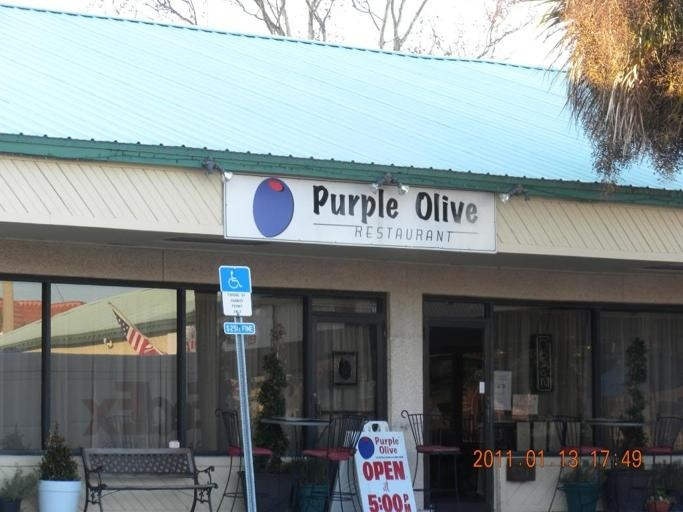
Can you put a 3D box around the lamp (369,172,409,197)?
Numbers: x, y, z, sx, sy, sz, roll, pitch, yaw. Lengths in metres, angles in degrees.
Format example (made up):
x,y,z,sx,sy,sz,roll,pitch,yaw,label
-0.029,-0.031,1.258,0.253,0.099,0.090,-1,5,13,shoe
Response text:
x,y,z,sx,sy,sz,roll,pitch,yaw,label
0.641,-0.948,23.821,0.541,0.260,0.235,0,-9,-7,lamp

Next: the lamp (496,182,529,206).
x,y,z,sx,sy,sz,roll,pitch,yaw,label
2.308,-0.822,24.271,0.400,0.235,0.220,-1,-9,-1,lamp

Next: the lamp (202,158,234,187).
x,y,z,sx,sy,sz,roll,pitch,yaw,label
-1.571,-1.090,23.181,0.372,0.176,0.233,33,-8,-25,lamp

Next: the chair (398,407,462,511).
x,y,z,sx,sy,sz,roll,pitch,yaw,label
1.166,2.822,25.699,1.051,2.022,1.078,-1,-3,7,chair

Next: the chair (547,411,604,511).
x,y,z,sx,sy,sz,roll,pitch,yaw,label
3.391,3.006,26.649,1.011,1.667,1.078,-1,-2,17,chair
